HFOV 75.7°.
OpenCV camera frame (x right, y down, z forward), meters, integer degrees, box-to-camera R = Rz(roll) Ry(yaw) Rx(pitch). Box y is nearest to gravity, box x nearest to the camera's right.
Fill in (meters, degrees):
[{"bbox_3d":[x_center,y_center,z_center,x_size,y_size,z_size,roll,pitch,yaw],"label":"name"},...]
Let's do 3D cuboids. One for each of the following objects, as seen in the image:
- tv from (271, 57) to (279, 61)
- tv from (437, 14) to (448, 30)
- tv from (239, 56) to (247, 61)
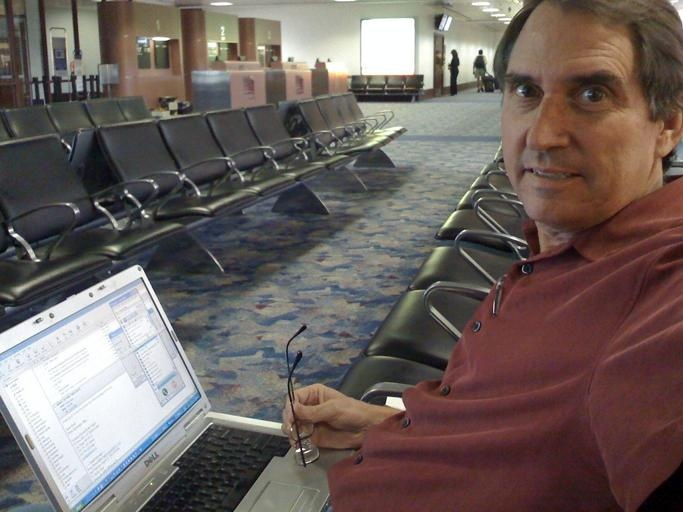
[{"bbox_3d":[-2.995,-8.965,20.201,0.279,0.262,0.318,-8,26,-14],"label":"tv"},{"bbox_3d":[5.059,-11.367,21.556,0.185,0.645,0.765,15,18,37],"label":"tv"},{"bbox_3d":[-4.093,-8.221,18.407,0.177,0.217,0.395,1,19,15],"label":"tv"}]
